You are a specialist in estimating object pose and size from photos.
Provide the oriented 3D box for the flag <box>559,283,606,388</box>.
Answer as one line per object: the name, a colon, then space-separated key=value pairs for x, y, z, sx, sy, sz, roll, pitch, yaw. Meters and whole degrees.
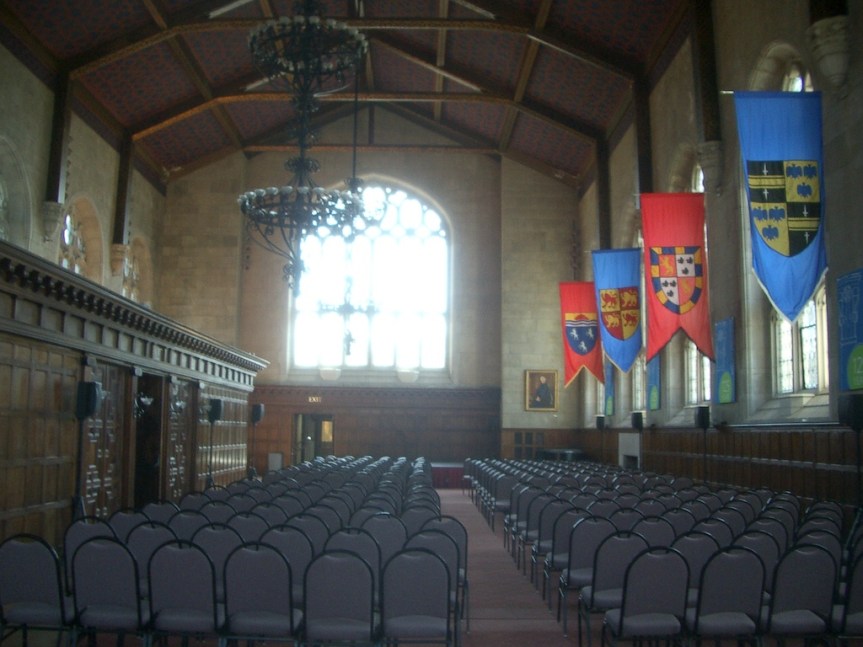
flag: x=4.274 y=0.257 z=23.447 sx=1.179 sy=3.388 sz=0.048 roll=0 pitch=28 yaw=14

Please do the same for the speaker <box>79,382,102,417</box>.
speaker: x=-5.790 y=1.274 z=14.015 sx=0.329 sy=0.652 sz=0.339 roll=3 pitch=-9 yaw=-24

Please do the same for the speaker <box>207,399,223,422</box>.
speaker: x=-5.462 y=2.159 z=20.841 sx=0.315 sy=0.570 sz=0.266 roll=2 pitch=-8 yaw=-18

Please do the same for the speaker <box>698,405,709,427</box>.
speaker: x=5.701 y=1.945 z=17.438 sx=0.246 sy=0.448 sz=0.300 roll=-4 pitch=-9 yaw=24

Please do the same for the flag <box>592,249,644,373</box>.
flag: x=4.552 y=-0.310 z=19.901 sx=1.269 sy=3.346 sz=0.143 roll=-5 pitch=26 yaw=11

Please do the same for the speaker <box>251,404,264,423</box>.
speaker: x=-5.281 y=2.686 z=25.160 sx=0.302 sy=0.534 sz=1.326 roll=1 pitch=-9 yaw=-12

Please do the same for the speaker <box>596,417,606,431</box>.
speaker: x=5.418 y=3.128 z=26.432 sx=0.300 sy=0.495 sz=0.751 roll=-2 pitch=-9 yaw=11

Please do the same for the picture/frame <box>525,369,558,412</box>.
picture/frame: x=3.891 y=2.420 z=29.667 sx=1.274 sy=1.730 sz=0.121 roll=2 pitch=-9 yaw=-6

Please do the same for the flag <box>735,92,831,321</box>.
flag: x=5.430 y=-1.900 z=12.768 sx=1.320 sy=3.667 sz=0.326 roll=0 pitch=-8 yaw=-2

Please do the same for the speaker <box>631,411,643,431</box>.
speaker: x=5.575 y=2.603 z=22.415 sx=0.262 sy=0.510 sz=0.633 roll=-3 pitch=-9 yaw=17
